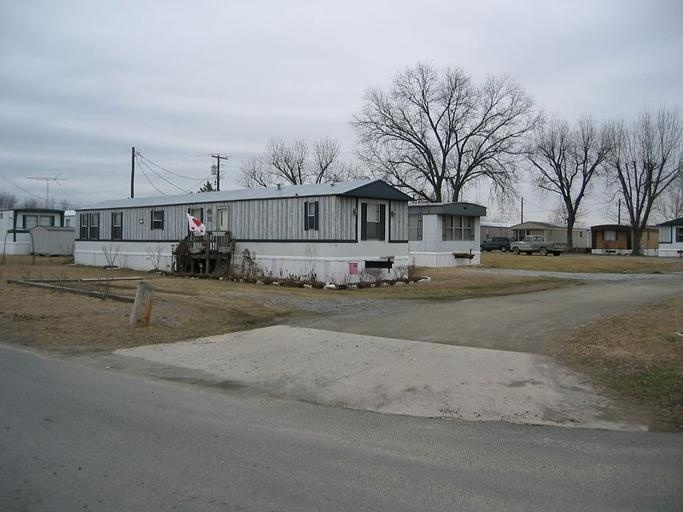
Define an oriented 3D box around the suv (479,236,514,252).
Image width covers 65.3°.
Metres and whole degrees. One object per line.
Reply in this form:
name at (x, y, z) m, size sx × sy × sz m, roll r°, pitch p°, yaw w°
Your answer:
suv at (15.547, -1.430, 53.174) m, size 1.641 × 1.516 × 3.510 m, roll -1°, pitch 3°, yaw -45°
